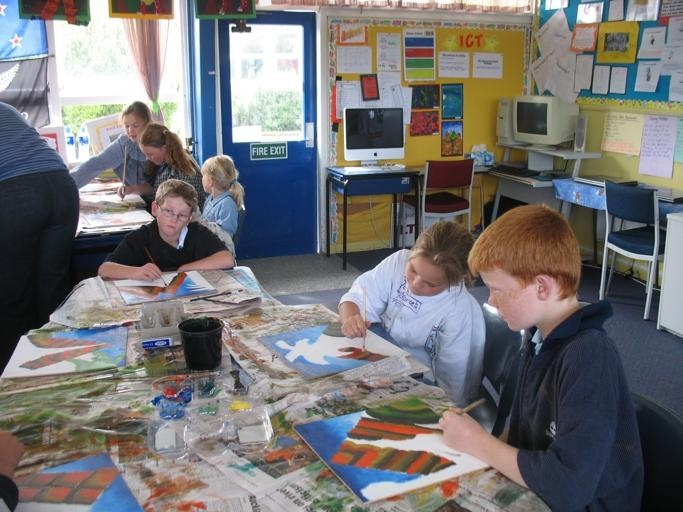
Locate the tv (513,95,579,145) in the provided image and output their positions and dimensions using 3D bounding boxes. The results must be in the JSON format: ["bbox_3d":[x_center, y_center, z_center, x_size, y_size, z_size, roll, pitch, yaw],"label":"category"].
[{"bbox_3d":[2.243,-1.505,5.392,0.462,0.554,0.626,-19,21,-15],"label":"tv"}]

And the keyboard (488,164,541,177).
[{"bbox_3d":[1.879,-0.913,5.306,0.406,0.100,0.582,-13,17,-36],"label":"keyboard"}]

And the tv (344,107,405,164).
[{"bbox_3d":[0.337,-1.240,5.140,0.786,0.575,0.192,-12,19,-35],"label":"tv"}]

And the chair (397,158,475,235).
[{"bbox_3d":[1.037,-0.580,5.299,0.582,1.020,0.618,-8,23,-15],"label":"chair"}]

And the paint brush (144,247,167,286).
[{"bbox_3d":[-0.812,0.045,2.165,0.034,0.018,0.218,-41,52,5],"label":"paint brush"}]

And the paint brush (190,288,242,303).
[{"bbox_3d":[-0.478,0.153,1.895,0.116,0.017,0.021,-11,17,-19],"label":"paint brush"}]

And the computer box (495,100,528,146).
[{"bbox_3d":[1.946,-1.535,5.657,0.302,0.498,0.280,-14,26,-13],"label":"computer box"}]

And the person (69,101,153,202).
[{"bbox_3d":[-1.616,-0.826,3.843,0.874,0.607,0.399,2,17,-10],"label":"person"}]

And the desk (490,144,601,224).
[{"bbox_3d":[1.946,-0.697,4.617,0.640,0.874,0.947,-6,22,-25],"label":"desk"}]

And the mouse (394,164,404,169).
[{"bbox_3d":[0.606,-0.938,5.204,0.084,0.031,0.135,3,15,-5],"label":"mouse"}]

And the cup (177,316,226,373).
[{"bbox_3d":[-0.384,0.253,1.395,0.132,0.120,0.142,-1,12,0],"label":"cup"}]

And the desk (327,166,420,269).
[{"bbox_3d":[0.326,-0.439,5.274,0.919,0.886,0.723,-8,13,-26],"label":"desk"}]
